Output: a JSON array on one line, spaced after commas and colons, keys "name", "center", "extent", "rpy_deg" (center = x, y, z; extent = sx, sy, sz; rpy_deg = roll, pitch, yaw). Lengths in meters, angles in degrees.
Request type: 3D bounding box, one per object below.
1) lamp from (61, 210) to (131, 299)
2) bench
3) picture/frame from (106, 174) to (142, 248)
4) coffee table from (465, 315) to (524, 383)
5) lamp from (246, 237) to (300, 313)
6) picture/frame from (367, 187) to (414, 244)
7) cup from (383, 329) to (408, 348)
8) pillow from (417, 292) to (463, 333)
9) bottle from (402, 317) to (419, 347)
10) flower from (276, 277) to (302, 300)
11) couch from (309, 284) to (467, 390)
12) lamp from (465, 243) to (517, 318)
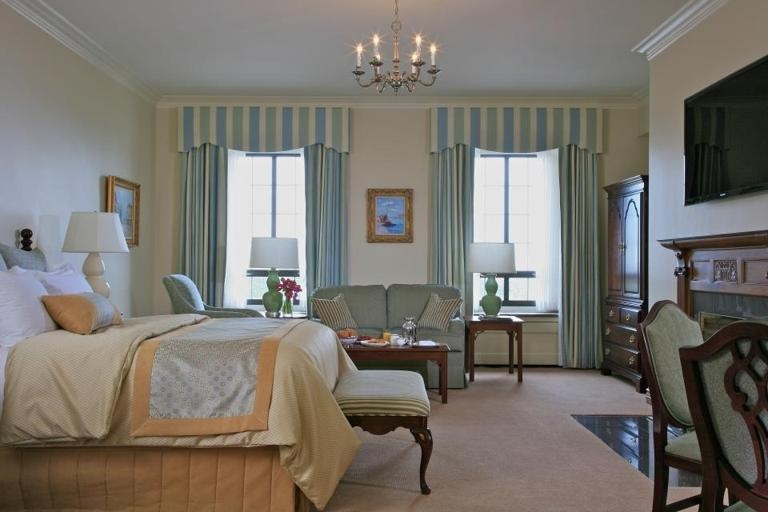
[{"name": "lamp", "center": [-2.908, -0.011, 5.776], "extent": [0.625, 0.905, 0.592], "rpy_deg": [2, 7, -25]}, {"name": "bench", "center": [-0.002, 1.264, 4.463], "extent": [0.670, 0.506, 0.947], "rpy_deg": [-1, -3, -2]}, {"name": "picture/frame", "center": [-3.250, -0.551, 7.138], "extent": [0.856, 0.869, 0.098], "rpy_deg": [13, 13, 36]}, {"name": "coffee table", "center": [1.375, 1.155, 7.179], "extent": [0.684, 0.750, 0.783], "rpy_deg": [0, -3, 11]}, {"name": "lamp", "center": [-1.314, 0.254, 6.878], "extent": [0.595, 0.956, 0.596], "rpy_deg": [-11, -15, 43]}, {"name": "picture/frame", "center": [0.093, -0.550, 7.777], "extent": [0.662, 0.845, 0.038], "rpy_deg": [0, -2, -3]}, {"name": "cup", "center": [0.117, 0.872, 6.004], "extent": [0.190, 0.128, 0.138], "rpy_deg": [0, -2, 2]}, {"name": "pillow", "center": [0.660, 0.670, 6.771], "extent": [0.127, 0.418, 0.410], "rpy_deg": [34, -14, -36]}, {"name": "bottle", "center": [0.324, 0.802, 6.157], "extent": [0.209, 0.401, 0.222], "rpy_deg": [0, -3, 0]}, {"name": "flower", "center": [-1.147, 0.406, 7.092], "extent": [0.226, 0.217, 0.237], "rpy_deg": [0, 3, -5]}, {"name": "couch", "center": [0.113, 0.959, 6.901], "extent": [1.751, 1.220, 1.044], "rpy_deg": [0, -2, -8]}, {"name": "lamp", "center": [1.348, 0.316, 7.179], "extent": [0.591, 0.929, 0.595], "rpy_deg": [2, -3, -29]}]
